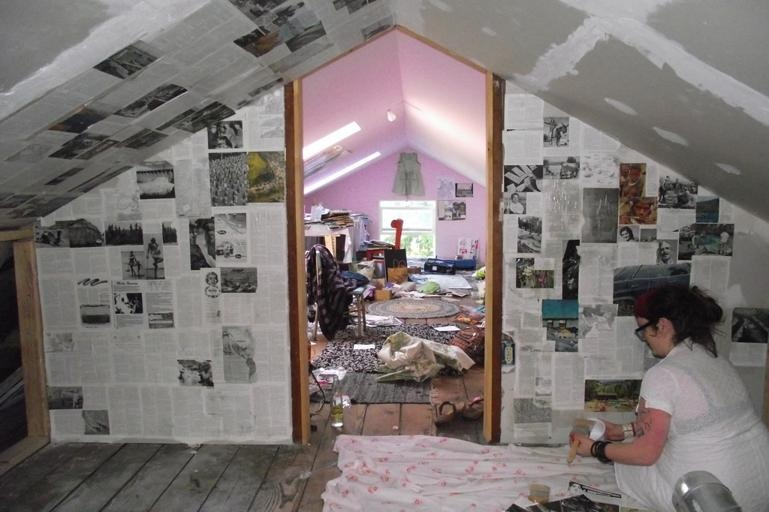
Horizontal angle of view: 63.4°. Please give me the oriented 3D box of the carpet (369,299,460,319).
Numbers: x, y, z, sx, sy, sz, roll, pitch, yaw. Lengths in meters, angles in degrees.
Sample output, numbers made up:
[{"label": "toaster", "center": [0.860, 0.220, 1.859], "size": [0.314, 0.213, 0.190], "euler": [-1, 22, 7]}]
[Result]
[{"label": "carpet", "center": [0.313, 0.577, 6.808], "size": [0.952, 0.191, 0.979], "euler": [-3, 0, 0]}]

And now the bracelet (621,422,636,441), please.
[{"label": "bracelet", "center": [1.346, 0.972, 3.446], "size": [0.081, 0.115, 0.117], "euler": [-5, -9, 11]}]

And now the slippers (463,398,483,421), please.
[{"label": "slippers", "center": [0.607, 1.041, 4.235], "size": [0.076, 0.068, 0.199], "euler": [2, 4, 19]}]

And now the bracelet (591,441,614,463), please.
[{"label": "bracelet", "center": [1.139, 1.048, 3.298], "size": [0.139, 0.069, 0.104], "euler": [-1, 5, 34]}]

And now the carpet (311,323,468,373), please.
[{"label": "carpet", "center": [0.047, 0.785, 5.486], "size": [1.268, 0.025, 1.251], "euler": [-5, 11, -6]}]

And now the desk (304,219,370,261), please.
[{"label": "desk", "center": [-0.632, -0.198, 7.958], "size": [0.718, 0.284, 0.672], "euler": [-1, 3, 0]}]

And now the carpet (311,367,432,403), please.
[{"label": "carpet", "center": [-0.063, 0.980, 4.626], "size": [0.843, 0.204, 0.511], "euler": [-3, 0, 13]}]

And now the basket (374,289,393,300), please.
[{"label": "basket", "center": [-0.026, 0.468, 7.394], "size": [0.123, 0.097, 0.228], "euler": [1, 2, 8]}]

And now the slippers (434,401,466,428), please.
[{"label": "slippers", "center": [0.427, 1.058, 4.160], "size": [0.155, 0.055, 0.148], "euler": [-12, -8, -12]}]
